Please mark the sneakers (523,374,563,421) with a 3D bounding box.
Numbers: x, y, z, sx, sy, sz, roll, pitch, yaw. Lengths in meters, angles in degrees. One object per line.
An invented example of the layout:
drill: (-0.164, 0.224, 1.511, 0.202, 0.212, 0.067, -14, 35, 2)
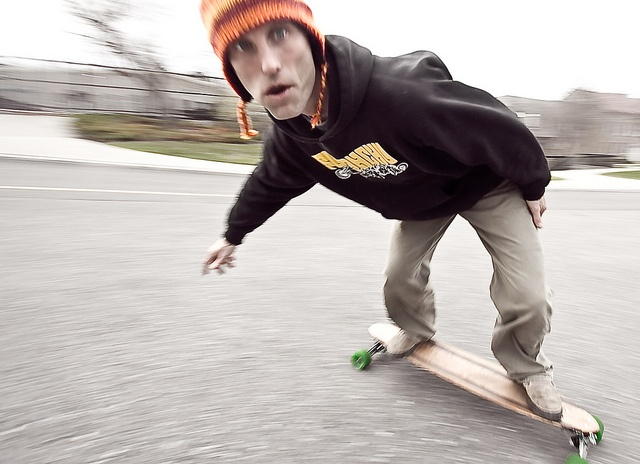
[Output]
sneakers: (1.136, 0.817, 2.256, 0.130, 0.099, 0.256, -11, 26, -4)
